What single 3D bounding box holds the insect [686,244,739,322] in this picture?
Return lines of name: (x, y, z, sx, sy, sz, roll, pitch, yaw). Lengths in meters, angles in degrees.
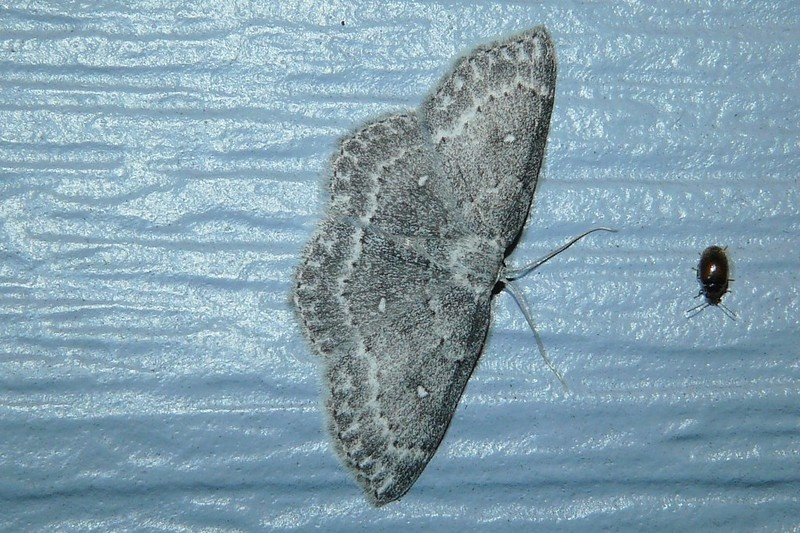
insect: (1.732, 0.090, 6.151, 0.192, 0.402, 0.171, 0, 6, -40)
